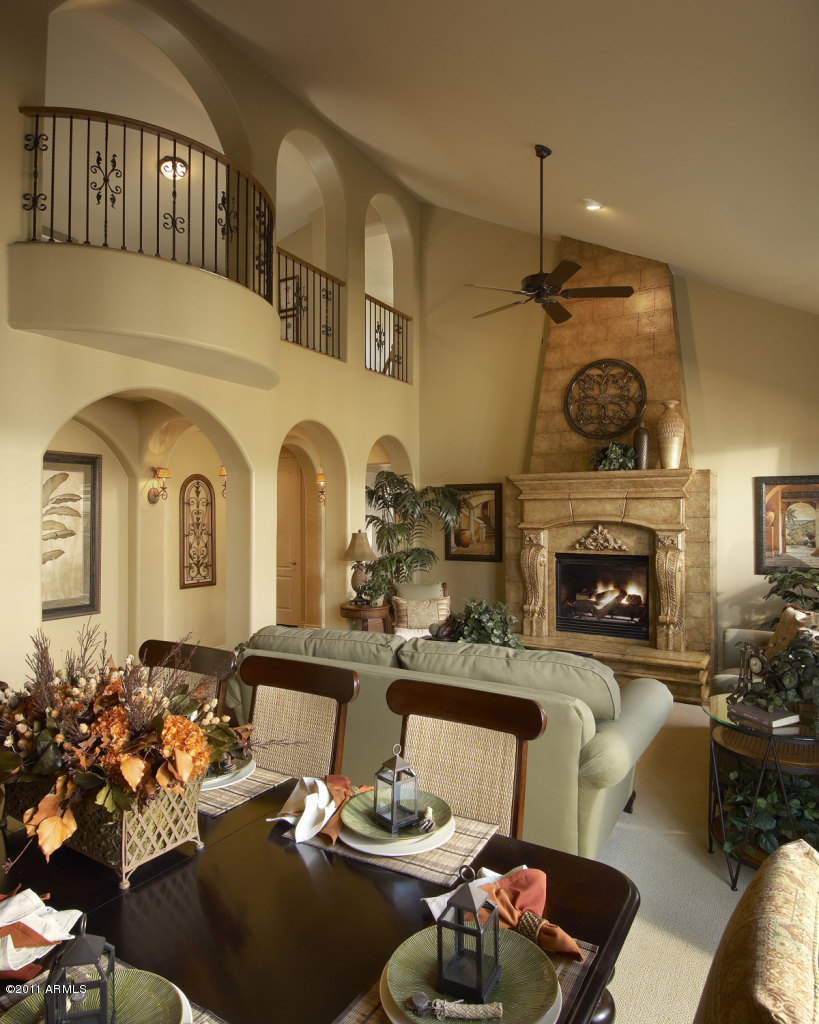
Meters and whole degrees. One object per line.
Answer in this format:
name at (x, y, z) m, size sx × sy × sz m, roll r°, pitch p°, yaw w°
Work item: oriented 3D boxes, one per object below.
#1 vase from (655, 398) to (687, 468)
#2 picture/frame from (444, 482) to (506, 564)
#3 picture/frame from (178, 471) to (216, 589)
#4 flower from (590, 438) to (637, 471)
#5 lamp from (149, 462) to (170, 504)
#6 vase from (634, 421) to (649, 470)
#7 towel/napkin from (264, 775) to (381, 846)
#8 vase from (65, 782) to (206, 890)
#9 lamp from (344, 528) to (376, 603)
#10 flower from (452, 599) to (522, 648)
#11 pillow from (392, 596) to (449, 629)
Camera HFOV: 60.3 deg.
vase at (2.372, -0.713, 6.468) m, size 0.263 × 0.498 × 0.374 m, roll -1°, pitch 0°, yaw 32°
picture/frame at (0.760, 0.098, 7.867) m, size 0.926 × 1.230 × 0.051 m, roll 0°, pitch -2°, yaw 37°
picture/frame at (-2.187, 0.207, 7.287) m, size 0.065 × 1.159 × 0.537 m, roll -1°, pitch 0°, yaw 20°
flower at (1.942, -0.532, 6.670) m, size 0.295 × 0.201 × 0.300 m, roll 2°, pitch -1°, yaw 12°
lamp at (-2.373, -0.251, 6.777) m, size 0.172 × 0.350 × 0.263 m, roll -1°, pitch 0°, yaw 23°
vase at (2.194, -0.632, 6.657) m, size 0.122 × 0.346 × 0.279 m, roll -1°, pitch 0°, yaw 18°
towel/napkin at (-0.190, 0.661, 1.541) m, size 0.144 × 0.064 × 0.248 m, roll 5°, pitch 2°, yaw 10°
vase at (-0.537, 0.580, 1.409) m, size 0.172 × 0.196 × 0.203 m, roll -4°, pitch 6°, yaw -44°
lamp at (-0.487, 0.535, 6.927) m, size 0.269 × 0.691 × 0.709 m, roll -1°, pitch 0°, yaw -4°
flower at (0.462, 0.666, 4.088) m, size 0.297 × 0.184 × 0.306 m, roll 12°, pitch 19°, yaw 40°
pillow at (0.103, 0.960, 6.685) m, size 0.467 × 0.296 × 0.140 m, roll 0°, pitch -12°, yaw -3°
